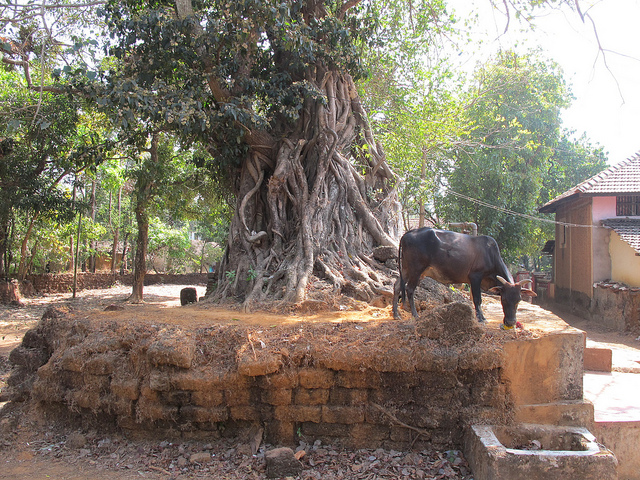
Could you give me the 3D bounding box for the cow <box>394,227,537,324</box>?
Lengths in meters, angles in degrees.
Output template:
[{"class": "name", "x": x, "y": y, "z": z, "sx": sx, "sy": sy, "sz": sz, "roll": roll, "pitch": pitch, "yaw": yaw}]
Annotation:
[{"class": "cow", "x": 2.464, "y": 0.679, "z": 10.146, "sx": 2.344, "sy": 1.676, "sz": 0.732, "roll": 7, "pitch": -11, "yaw": 1}]
